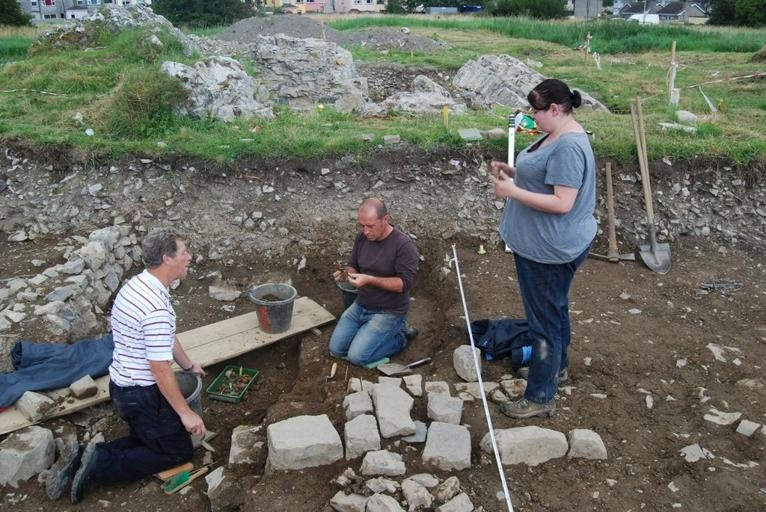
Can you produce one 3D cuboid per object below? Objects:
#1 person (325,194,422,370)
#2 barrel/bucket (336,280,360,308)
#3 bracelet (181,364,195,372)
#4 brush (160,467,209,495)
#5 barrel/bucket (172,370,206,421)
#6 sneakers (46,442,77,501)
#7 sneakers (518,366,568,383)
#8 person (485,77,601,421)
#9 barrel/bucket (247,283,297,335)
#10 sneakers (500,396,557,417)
[{"bbox_3d":[-0.114,0.320,6.800,0.860,1.805,1.070,10,33,20],"label":"person"},{"bbox_3d":[-0.442,0.521,7.608,0.304,0.342,0.312,2,31,-1],"label":"barrel/bucket"},{"bbox_3d":[-2.087,1.213,6.330,0.160,0.048,0.063,1,0,1],"label":"bracelet"},{"bbox_3d":[-2.002,2.263,5.946,0.156,0.082,0.347,24,30,39],"label":"brush"},{"bbox_3d":[-2.048,1.489,6.350,0.400,0.421,0.441,-3,21,-1],"label":"barrel/bucket"},{"bbox_3d":[-3.151,2.145,5.770,0.536,0.197,0.244,-61,17,-20],"label":"sneakers"},{"bbox_3d":[1.673,1.225,6.046,0.356,0.162,0.118,-14,41,-4],"label":"sneakers"},{"bbox_3d":[1.581,-0.039,5.789,0.990,3.088,1.493,4,32,12],"label":"person"},{"bbox_3d":[-1.321,0.611,7.441,0.624,0.490,0.593,1,33,-1],"label":"barrel/bucket"},{"bbox_3d":[1.476,1.571,5.972,0.498,0.241,0.214,4,11,-1],"label":"sneakers"}]
